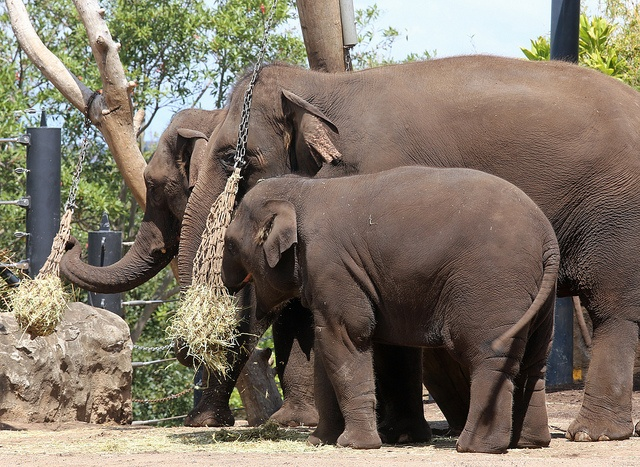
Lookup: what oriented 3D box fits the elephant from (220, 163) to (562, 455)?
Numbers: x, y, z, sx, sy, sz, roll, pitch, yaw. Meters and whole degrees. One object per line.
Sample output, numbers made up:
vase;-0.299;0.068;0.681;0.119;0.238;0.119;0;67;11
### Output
elephant;0.278;0.430;5.809;2.094;1.569;1.171;0;1;26
